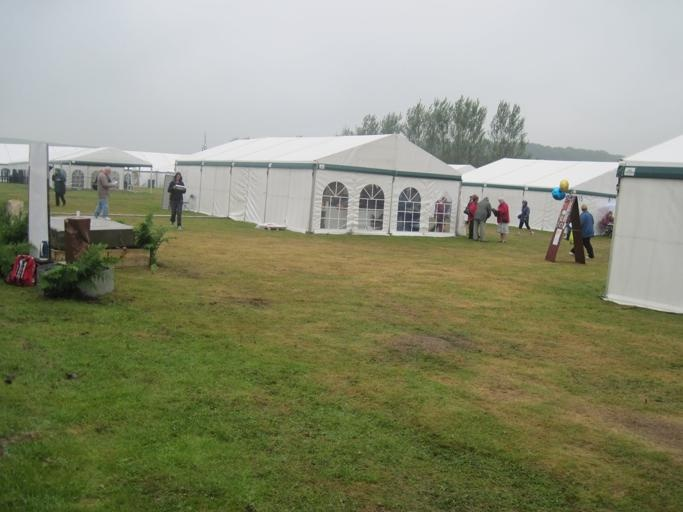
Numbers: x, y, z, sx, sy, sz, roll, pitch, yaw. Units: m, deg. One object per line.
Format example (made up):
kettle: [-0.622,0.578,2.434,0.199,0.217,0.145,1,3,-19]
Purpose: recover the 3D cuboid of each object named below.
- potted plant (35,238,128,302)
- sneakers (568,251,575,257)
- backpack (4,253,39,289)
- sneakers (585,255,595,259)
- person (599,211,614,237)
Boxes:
potted plant: [-4.267,0.244,8.536,0.909,0.804,1.047,6,6,35]
sneakers: [8.024,-0.092,18.488,0.115,0.158,0.325,0,-3,35]
backpack: [-5.193,0.256,8.663,0.420,0.569,0.212,9,-4,11]
sneakers: [8.509,0.014,18.185,0.294,0.142,0.120,2,6,35]
person: [14.402,-1.795,28.898,0.557,1.332,0.610,-9,19,-44]
